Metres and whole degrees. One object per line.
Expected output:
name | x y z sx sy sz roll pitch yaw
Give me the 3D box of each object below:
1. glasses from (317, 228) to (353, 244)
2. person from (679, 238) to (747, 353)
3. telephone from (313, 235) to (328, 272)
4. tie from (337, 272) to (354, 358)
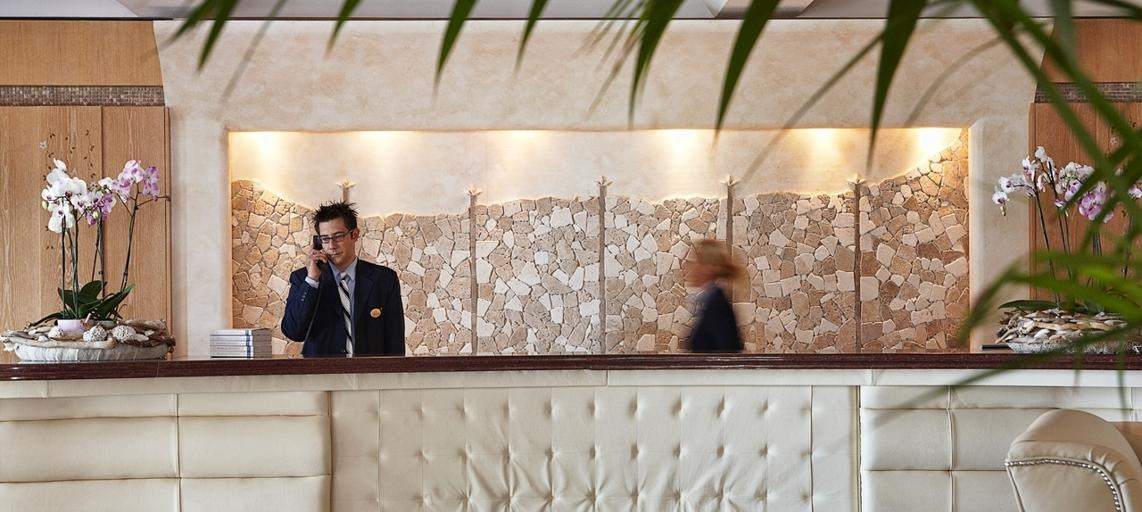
glasses | -2.640 -0.218 15.262 0.380 0.138 0.113 0 -2 -12
person | 1.591 0.425 15.229 0.594 1.221 0.554 -1 -1 4
telephone | -2.818 -0.031 15.271 0.101 0.394 0.124 -12 -1 21
tie | -2.498 0.587 15.311 0.197 1.127 0.161 -4 -5 5
